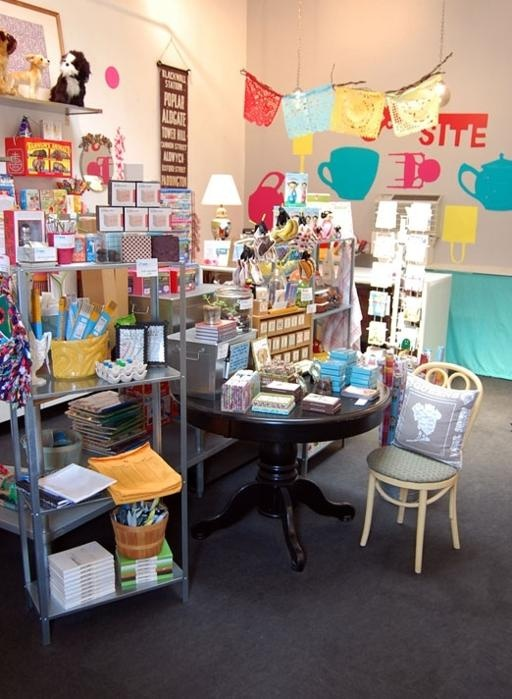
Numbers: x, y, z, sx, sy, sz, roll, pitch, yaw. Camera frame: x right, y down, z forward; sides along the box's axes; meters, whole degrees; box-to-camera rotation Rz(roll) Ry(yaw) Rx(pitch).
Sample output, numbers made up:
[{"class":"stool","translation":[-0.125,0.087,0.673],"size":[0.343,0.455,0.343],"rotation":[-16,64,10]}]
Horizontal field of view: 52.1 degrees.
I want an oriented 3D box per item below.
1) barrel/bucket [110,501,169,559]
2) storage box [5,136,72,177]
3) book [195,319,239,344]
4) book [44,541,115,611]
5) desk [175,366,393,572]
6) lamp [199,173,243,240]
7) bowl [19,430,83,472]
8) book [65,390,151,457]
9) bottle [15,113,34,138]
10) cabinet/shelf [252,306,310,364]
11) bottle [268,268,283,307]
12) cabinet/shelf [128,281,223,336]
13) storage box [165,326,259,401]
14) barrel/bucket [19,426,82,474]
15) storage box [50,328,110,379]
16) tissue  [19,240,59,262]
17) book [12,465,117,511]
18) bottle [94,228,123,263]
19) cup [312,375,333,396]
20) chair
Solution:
[{"class":"barrel/bucket","translation":[-0.430,0.681,1.926],"size":[0.188,0.140,0.177],"rotation":[2,1,0]},{"class":"storage box","translation":[-1.564,-1.403,3.842],"size":[0.179,0.314,0.493],"rotation":[6,9,32]},{"class":"book","translation":[-0.174,-0.083,2.340],"size":[0.107,0.049,0.146],"rotation":[8,16,20]},{"class":"book","translation":[-0.596,0.760,1.795],"size":[0.174,0.130,0.173],"rotation":[-8,17,-34]},{"class":"desk","translation":[0.105,0.540,2.568],"size":[0.981,0.699,0.945],"rotation":[-2,7,-20]},{"class":"lamp","translation":[-0.390,-1.577,5.920],"size":[0.441,0.757,0.436],"rotation":[0,14,-5]},{"class":"bowl","translation":[-0.825,0.437,2.179],"size":[0.161,0.149,0.193],"rotation":[20,23,27]},{"class":"book","translation":[-0.770,0.348,2.572],"size":[0.333,0.155,0.262],"rotation":[6,15,25]},{"class":"bottle","translation":[-1.678,-1.611,3.788],"size":[0.091,0.184,0.224],"rotation":[0,8,-12]},{"class":"cabinet/shelf","translation":[0.216,-0.060,2.887],"size":[0.124,0.257,0.348],"rotation":[-2,3,-42]},{"class":"bottle","translation":[0.103,-0.318,2.724],"size":[0.062,0.201,0.128],"rotation":[4,8,20]},{"class":"cabinet/shelf","translation":[-0.451,-0.263,2.795],"size":[0.512,0.341,0.259],"rotation":[-1,3,-7]},{"class":"storage box","translation":[-0.229,-0.020,2.387],"size":[0.290,0.273,0.410],"rotation":[7,16,20]},{"class":"barrel/bucket","translation":[-0.816,0.410,2.157],"size":[0.197,0.172,0.242],"rotation":[3,3,45]},{"class":"storage box","translation":[-0.637,0.017,1.908],"size":[0.126,0.148,0.220],"rotation":[15,18,33]},{"class":"tissue ","translation":[-0.639,-0.278,1.534],"size":[0.076,0.049,0.075],"rotation":[-3,11,-25]},{"class":"book","translation":[-0.616,0.450,1.746],"size":[0.155,0.048,0.164],"rotation":[14,13,41]},{"class":"bottle","translation":[-0.476,-0.349,1.787],"size":[0.100,0.135,0.097],"rotation":[1,13,0]},{"class":"cup","translation":[0.301,0.163,2.363],"size":[0.077,0.067,0.079],"rotation":[-1,8,0]},{"class":"chair","translation":[0.751,0.528,2.442],"size":[0.484,0.859,0.458],"rotation":[-3,14,-12]}]
